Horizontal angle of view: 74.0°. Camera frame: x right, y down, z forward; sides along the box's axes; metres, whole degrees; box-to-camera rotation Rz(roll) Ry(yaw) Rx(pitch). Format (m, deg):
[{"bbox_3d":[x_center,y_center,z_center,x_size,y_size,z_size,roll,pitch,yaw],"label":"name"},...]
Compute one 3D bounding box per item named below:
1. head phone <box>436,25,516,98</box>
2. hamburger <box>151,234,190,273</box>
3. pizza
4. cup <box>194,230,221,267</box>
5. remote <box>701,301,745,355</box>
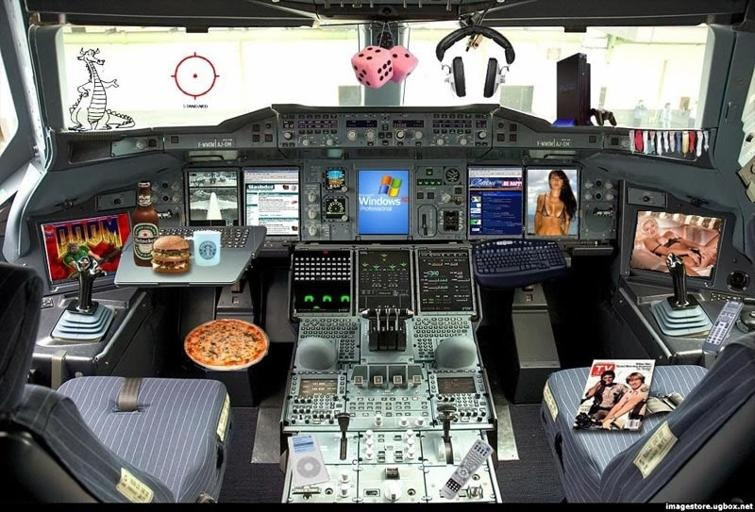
[{"bbox_3d":[0.556,-1.098,2.858,0.415,0.437,0.142,4,-12,6],"label":"head phone"},{"bbox_3d":[-0.990,-0.005,2.396,0.184,0.143,0.170,1,5,-14],"label":"hamburger"},{"bbox_3d":[-0.987,0.537,3.255,0.440,0.041,0.424,4,-50,-22],"label":"pizza"},{"bbox_3d":[-0.863,-0.036,2.488,0.159,0.160,0.176,2,4,-10],"label":"cup"},{"bbox_3d":[1.776,0.378,2.590,0.049,0.331,0.111,27,0,-32],"label":"remote"}]
